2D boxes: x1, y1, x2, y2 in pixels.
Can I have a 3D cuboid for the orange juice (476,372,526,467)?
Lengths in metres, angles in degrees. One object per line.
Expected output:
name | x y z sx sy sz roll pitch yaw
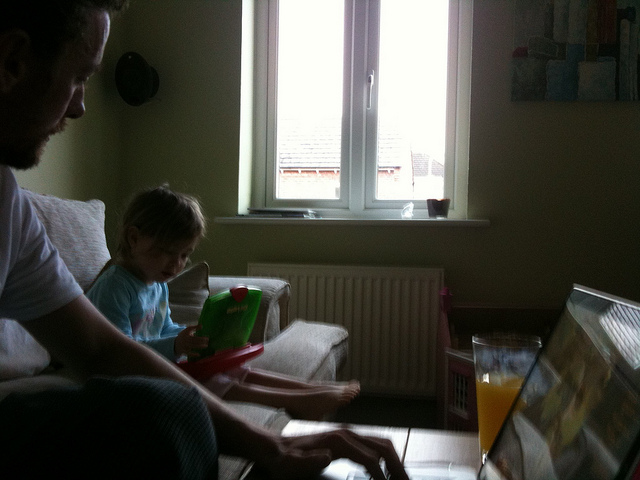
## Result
orange juice | 0.307 0.279 0.845 0.088 0.163 0.102 -3 -6 9

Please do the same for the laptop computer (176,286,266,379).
laptop computer | -0.267 0.205 1.381 0.161 0.246 0.261 2 2 25
